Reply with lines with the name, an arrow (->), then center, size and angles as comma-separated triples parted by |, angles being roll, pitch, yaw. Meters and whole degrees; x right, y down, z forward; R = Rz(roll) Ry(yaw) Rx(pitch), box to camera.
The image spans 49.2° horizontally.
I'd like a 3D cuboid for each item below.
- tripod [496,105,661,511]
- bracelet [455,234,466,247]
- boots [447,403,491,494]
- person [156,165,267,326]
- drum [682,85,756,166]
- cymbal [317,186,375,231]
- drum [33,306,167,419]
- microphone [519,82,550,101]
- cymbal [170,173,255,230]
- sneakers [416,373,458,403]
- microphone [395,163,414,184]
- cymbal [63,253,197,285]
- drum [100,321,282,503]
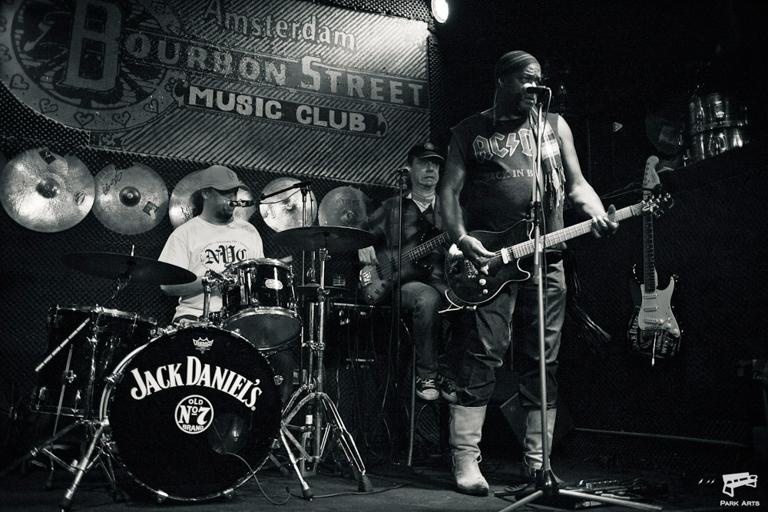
tripod -> 1.384, 0.356, 6.114 | 1.166, 2.929, 0.946 | 3, -7, 4
bracelet -> 0.571, -0.112, 6.259 | 0.020, 0.080, 0.081 | 41, -57, -13
boots -> 0.634, 1.445, 6.281 | 0.313, 0.647, 0.217 | 3, -7, 8
person -> -1.590, -0.065, 7.474 | 1.001, 1.332, 0.876 | 15, -37, -35
drum -> 2.824, -1.078, 7.038 | 0.463, 0.744, 0.522 | 18, -23, -36
cymbal -> -0.406, -0.480, 8.464 | 0.507, 0.505, 0.581 | 9, 4, -6
drum -> -2.405, 0.839, 6.799 | 0.930, 0.900, 0.933 | 14, -1, -4
microphone -> 1.077, -1.138, 5.942 | 0.226, 0.144, 0.054 | -9, -37, -3
cymbal -> -1.736, -0.502, 7.852 | 0.609, 0.606, 0.159 | -24, 0, -34
sneakers -> 0.516, 1.149, 7.255 | 0.468, 0.183, 0.171 | 12, -16, -13
microphone -> 0.192, -0.790, 8.120 | 0.191, 0.275, 0.502 | 7, 7, 3
cymbal -> -2.001, 0.107, 6.550 | 0.786, 0.193, 0.731 | -1, -9, 29
drum -> -1.421, 1.147, 6.038 | 1.042, 1.018, 0.613 | 22, -12, -31
